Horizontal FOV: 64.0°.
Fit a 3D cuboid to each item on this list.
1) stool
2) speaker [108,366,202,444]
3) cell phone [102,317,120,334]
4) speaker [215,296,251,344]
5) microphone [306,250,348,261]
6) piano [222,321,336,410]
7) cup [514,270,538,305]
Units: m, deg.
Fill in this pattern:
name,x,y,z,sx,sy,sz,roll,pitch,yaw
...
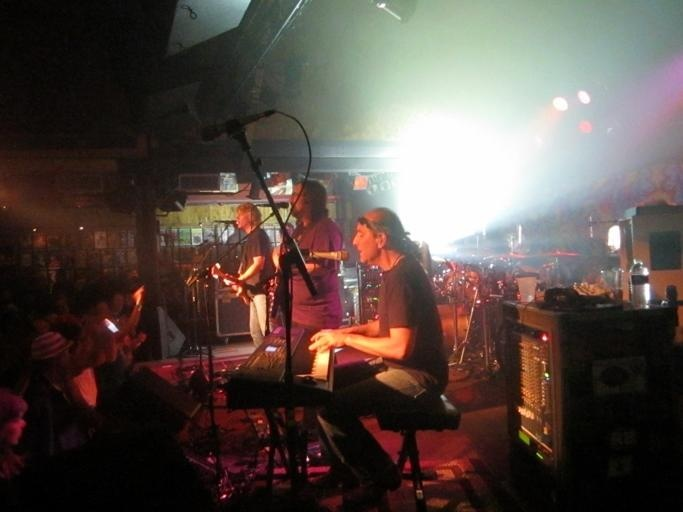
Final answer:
name,x,y,z,sx,sy,sz,roll,pitch,yaw
stool,0.540,1.481,4.151,0.585,0.654,0.524,-3,1,-10
speaker,-1.400,1.093,4.292,0.606,0.596,0.164,40,5,8
cell phone,-2.119,0.632,5.023,0.052,0.147,0.122,-35,-20,-11
speaker,-2.071,1.196,10.311,0.762,0.808,0.202,1,-3,-29
microphone,-0.096,-0.003,4.516,0.461,0.104,0.106,1,-4,29
piano,-0.388,0.841,3.934,0.686,0.469,0.855,-2,1,5
cup,2.008,0.352,6.008,0.310,0.357,0.312,1,-6,0
